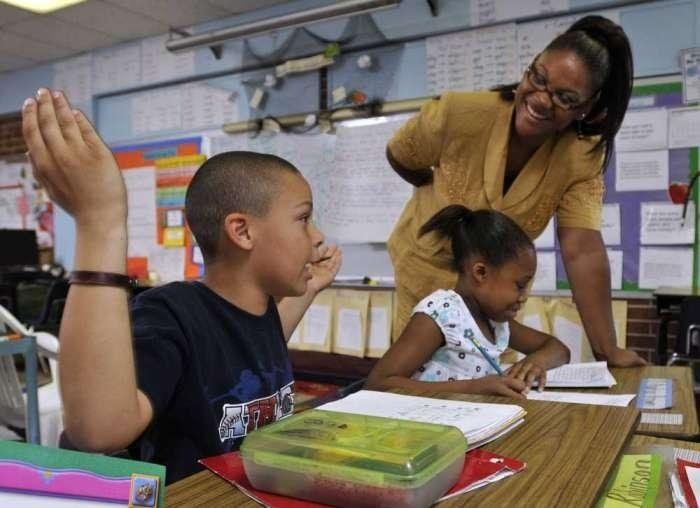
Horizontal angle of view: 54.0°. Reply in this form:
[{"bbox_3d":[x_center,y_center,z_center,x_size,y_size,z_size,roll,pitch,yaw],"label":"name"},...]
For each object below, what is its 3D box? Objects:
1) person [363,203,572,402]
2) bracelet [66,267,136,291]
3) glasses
[{"bbox_3d":[0.373,0.112,2.007,0.522,0.887,0.478,1,11,21],"label":"person"},{"bbox_3d":[-0.410,0.045,1.166,0.089,0.036,0.127,-3,-2,44],"label":"bracelet"},{"bbox_3d":[0.548,-0.445,1.782,0.143,0.082,0.178,15,-36,11],"label":"glasses"}]
